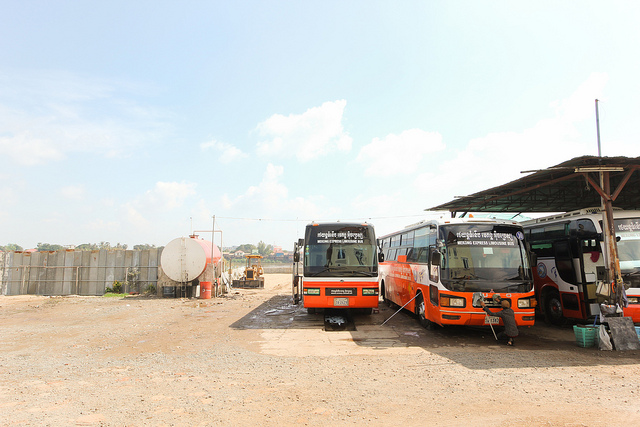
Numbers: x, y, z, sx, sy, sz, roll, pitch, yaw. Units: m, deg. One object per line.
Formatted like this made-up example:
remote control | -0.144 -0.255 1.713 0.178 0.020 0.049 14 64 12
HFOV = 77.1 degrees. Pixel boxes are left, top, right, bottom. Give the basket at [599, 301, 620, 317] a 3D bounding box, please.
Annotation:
basket | 9.529 3.195 13.260 0.561 0.539 0.437 -14 -16 41

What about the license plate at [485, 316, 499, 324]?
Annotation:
license plate | 5.736 3.535 13.242 0.308 0.273 0.081 2 5 10

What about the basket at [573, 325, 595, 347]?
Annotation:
basket | 8.652 4.019 13.199 0.564 0.487 0.665 -7 -13 40

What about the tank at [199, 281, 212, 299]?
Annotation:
tank | -7.200 4.804 25.145 0.690 1.020 0.833 0 -1 -13

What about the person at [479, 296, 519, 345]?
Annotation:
person | 5.967 3.560 13.252 0.972 1.557 0.372 0 -1 15

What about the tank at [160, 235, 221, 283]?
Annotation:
tank | -8.665 2.986 27.059 2.878 3.042 2.739 0 -1 4
